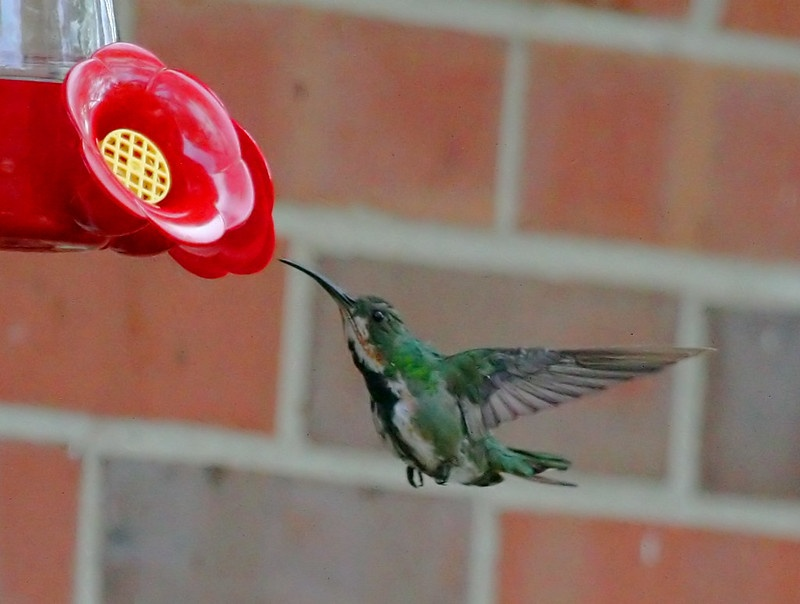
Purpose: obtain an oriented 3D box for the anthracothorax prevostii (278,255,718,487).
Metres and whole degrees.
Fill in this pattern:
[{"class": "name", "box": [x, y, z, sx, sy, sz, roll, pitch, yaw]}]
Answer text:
[{"class": "anthracothorax prevostii", "box": [0.117, 0.120, 1.950, 0.350, 0.337, 0.172, 9, 80, -2]}]
